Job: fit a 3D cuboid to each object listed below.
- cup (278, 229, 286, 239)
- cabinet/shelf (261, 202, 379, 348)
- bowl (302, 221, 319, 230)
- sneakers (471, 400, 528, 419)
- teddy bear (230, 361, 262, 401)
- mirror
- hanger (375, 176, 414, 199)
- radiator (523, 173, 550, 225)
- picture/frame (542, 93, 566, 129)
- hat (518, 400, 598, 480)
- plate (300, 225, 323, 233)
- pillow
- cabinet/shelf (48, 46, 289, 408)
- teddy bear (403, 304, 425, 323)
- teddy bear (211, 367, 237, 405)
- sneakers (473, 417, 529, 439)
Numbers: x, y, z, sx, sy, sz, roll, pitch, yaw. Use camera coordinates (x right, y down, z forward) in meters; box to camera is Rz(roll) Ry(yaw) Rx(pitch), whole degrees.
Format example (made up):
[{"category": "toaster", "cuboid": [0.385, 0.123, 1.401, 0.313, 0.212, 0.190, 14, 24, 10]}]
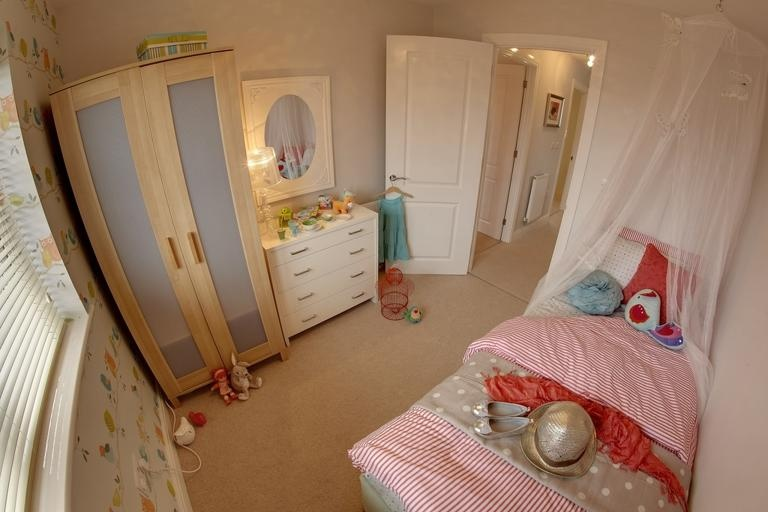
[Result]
[{"category": "cup", "cuboid": [-0.862, -0.186, 3.895, 0.074, 0.083, 0.075, 0, 3, 0]}, {"category": "cabinet/shelf", "cuboid": [-0.610, 0.160, 4.136, 0.986, 0.953, 0.413, -23, 39, -28]}, {"category": "bowl", "cuboid": [-0.639, -0.271, 4.017, 0.109, 0.054, 0.092, 0, 41, -5]}, {"category": "sneakers", "cuboid": [0.737, 0.998, 2.976, 0.348, 0.088, 0.129, 0, 53, -3]}, {"category": "teddy bear", "cuboid": [-1.146, 0.997, 3.722, 0.223, 0.299, 0.236, 2, 29, 3]}, {"category": "mirror", "cuboid": [-0.865, -1.056, 4.028, 1.002, 1.372, 0.058, -17, 29, -34]}, {"category": "hanger", "cuboid": [0.120, -0.709, 4.753, 0.281, 0.180, 0.033, 3, 35, 9]}, {"category": "radiator", "cuboid": [1.976, -0.741, 5.927, 0.126, 0.564, 0.531, 13, 14, 32]}, {"category": "picture/frame", "cuboid": [2.060, -1.780, 5.591, 0.031, 0.375, 0.421, 18, 30, 38]}, {"category": "hat", "cuboid": [1.048, 1.066, 2.731, 0.432, 0.341, 0.340, 10, 31, 22]}, {"category": "plate", "cuboid": [-0.629, -0.246, 4.008, 0.100, 0.045, 0.085, 4, 36, 13]}, {"category": "pillow", "cuboid": [2.088, 0.179, 3.649, 0.174, 0.565, 0.581, 8, 27, -30]}, {"category": "cabinet/shelf", "cuboid": [-1.449, -0.124, 3.392, 1.168, 2.469, 0.505, -18, 32, -26]}, {"category": "teddy bear", "cuboid": [0.286, 0.577, 4.498, 0.147, 0.075, 0.157, -2, 23, 0]}, {"category": "teddy bear", "cuboid": [-1.301, 1.032, 3.725, 0.166, 0.262, 0.410, -3, -18, -38]}, {"category": "sneakers", "cuboid": [0.717, 1.082, 2.889, 0.366, 0.103, 0.136, -6, 54, 2]}]
